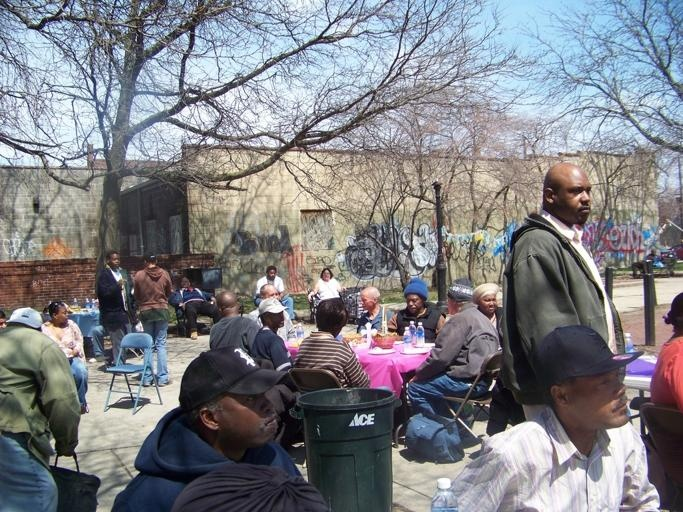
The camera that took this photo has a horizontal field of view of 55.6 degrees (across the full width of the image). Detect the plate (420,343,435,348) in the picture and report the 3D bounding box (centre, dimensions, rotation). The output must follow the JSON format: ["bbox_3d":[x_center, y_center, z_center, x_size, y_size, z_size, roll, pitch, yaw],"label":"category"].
[{"bbox_3d":[1.089,1.145,8.297,0.186,0.045,0.487,-4,-5,15],"label":"plate"}]

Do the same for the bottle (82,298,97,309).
[{"bbox_3d":[-6.348,1.206,16.369,0.338,0.126,0.127,-4,-38,0],"label":"bottle"}]

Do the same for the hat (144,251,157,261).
[{"bbox_3d":[-3.513,0.008,11.921,0.150,0.206,0.203,4,-43,-6],"label":"hat"}]

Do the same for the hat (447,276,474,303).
[{"bbox_3d":[1.453,0.422,7.902,0.288,0.286,0.370,-4,-4,12],"label":"hat"}]

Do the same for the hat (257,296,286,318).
[{"bbox_3d":[-0.858,0.614,7.869,0.240,0.147,0.196,-7,-4,17],"label":"hat"}]

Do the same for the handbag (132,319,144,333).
[{"bbox_3d":[-3.888,1.338,12.412,0.242,0.257,0.064,1,-40,11],"label":"handbag"}]

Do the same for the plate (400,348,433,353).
[{"bbox_3d":[0.913,1.163,7.944,0.328,0.066,0.318,-4,-5,13],"label":"plate"}]

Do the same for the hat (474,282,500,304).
[{"bbox_3d":[1.830,0.448,8.314,0.270,0.187,0.315,0,-10,2],"label":"hat"}]

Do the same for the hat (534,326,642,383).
[{"bbox_3d":[1.402,0.587,3.763,0.477,0.262,0.323,-21,-1,17],"label":"hat"}]

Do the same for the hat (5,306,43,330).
[{"bbox_3d":[-2.882,0.547,5.865,0.218,0.186,0.315,5,-20,-7],"label":"hat"}]

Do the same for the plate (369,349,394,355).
[{"bbox_3d":[0.497,1.169,7.954,0.303,0.061,0.254,-5,-5,18],"label":"plate"}]

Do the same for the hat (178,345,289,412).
[{"bbox_3d":[-0.597,0.636,3.437,0.435,0.233,0.301,-8,5,-1],"label":"hat"}]

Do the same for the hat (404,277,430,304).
[{"bbox_3d":[1.025,0.459,8.764,0.274,0.313,0.357,5,-13,9],"label":"hat"}]
